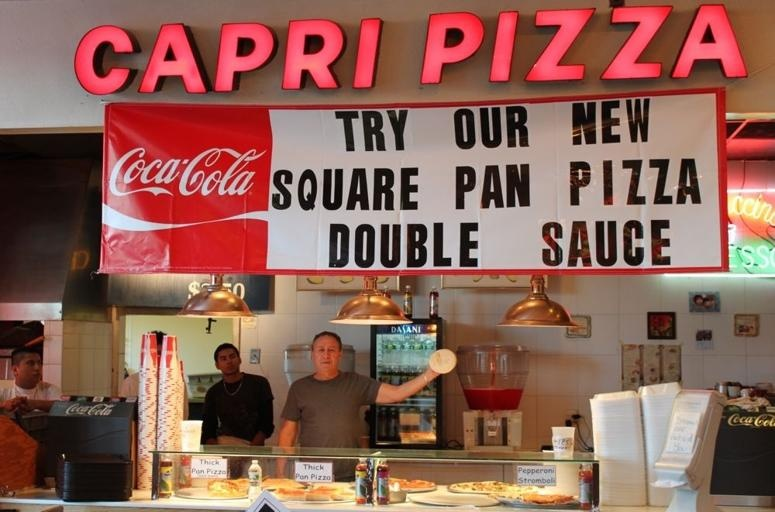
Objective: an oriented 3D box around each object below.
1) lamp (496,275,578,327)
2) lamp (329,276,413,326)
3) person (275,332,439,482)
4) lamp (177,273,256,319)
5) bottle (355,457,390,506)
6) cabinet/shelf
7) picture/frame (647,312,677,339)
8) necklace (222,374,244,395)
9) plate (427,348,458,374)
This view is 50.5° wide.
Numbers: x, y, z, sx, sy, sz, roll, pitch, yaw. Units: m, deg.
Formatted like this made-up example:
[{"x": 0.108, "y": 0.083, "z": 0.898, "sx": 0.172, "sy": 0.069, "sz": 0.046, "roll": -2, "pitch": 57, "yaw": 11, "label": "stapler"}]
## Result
[{"x": 1.183, "y": 0.261, "z": 6.416, "sx": 0.548, "sy": 0.557, "sz": 0.554, "roll": 0, "pitch": -1, "yaw": -6, "label": "lamp"}, {"x": -0.093, "y": 0.344, "z": 6.525, "sx": 0.535, "sy": 0.388, "sz": 0.622, "roll": -2, "pitch": -7, "yaw": 15, "label": "lamp"}, {"x": -0.219, "y": 1.457, "z": 6.942, "sx": 1.319, "sy": 1.672, "sz": 0.408, "roll": -1, "pitch": 10, "yaw": 0, "label": "person"}, {"x": -1.372, "y": 0.299, "z": 6.591, "sx": 0.580, "sy": 0.368, "sz": 0.590, "roll": -1, "pitch": -3, "yaw": 18, "label": "lamp"}, {"x": -0.095, "y": 1.551, "z": 5.641, "sx": 0.235, "sy": 0.309, "sz": 0.054, "roll": 0, "pitch": -8, "yaw": -2, "label": "bottle"}, {"x": -0.171, "y": 1.415, "z": 5.257, "sx": 2.775, "sy": 0.385, "sz": 0.397, "roll": 1, "pitch": -6, "yaw": 3, "label": "cabinet/shelf"}, {"x": 2.877, "y": 0.728, "z": 8.574, "sx": 0.227, "sy": 0.235, "sz": 0.024, "roll": -13, "pitch": -4, "yaw": 1, "label": "picture/frame"}, {"x": -1.501, "y": 1.256, "z": 8.008, "sx": 0.148, "sy": 0.205, "sz": 0.049, "roll": -1, "pitch": 1, "yaw": 0, "label": "necklace"}, {"x": 0.407, "y": 0.784, "z": 6.114, "sx": 0.170, "sy": 0.175, "sz": 0.215, "roll": 0, "pitch": -7, "yaw": -1, "label": "plate"}]
